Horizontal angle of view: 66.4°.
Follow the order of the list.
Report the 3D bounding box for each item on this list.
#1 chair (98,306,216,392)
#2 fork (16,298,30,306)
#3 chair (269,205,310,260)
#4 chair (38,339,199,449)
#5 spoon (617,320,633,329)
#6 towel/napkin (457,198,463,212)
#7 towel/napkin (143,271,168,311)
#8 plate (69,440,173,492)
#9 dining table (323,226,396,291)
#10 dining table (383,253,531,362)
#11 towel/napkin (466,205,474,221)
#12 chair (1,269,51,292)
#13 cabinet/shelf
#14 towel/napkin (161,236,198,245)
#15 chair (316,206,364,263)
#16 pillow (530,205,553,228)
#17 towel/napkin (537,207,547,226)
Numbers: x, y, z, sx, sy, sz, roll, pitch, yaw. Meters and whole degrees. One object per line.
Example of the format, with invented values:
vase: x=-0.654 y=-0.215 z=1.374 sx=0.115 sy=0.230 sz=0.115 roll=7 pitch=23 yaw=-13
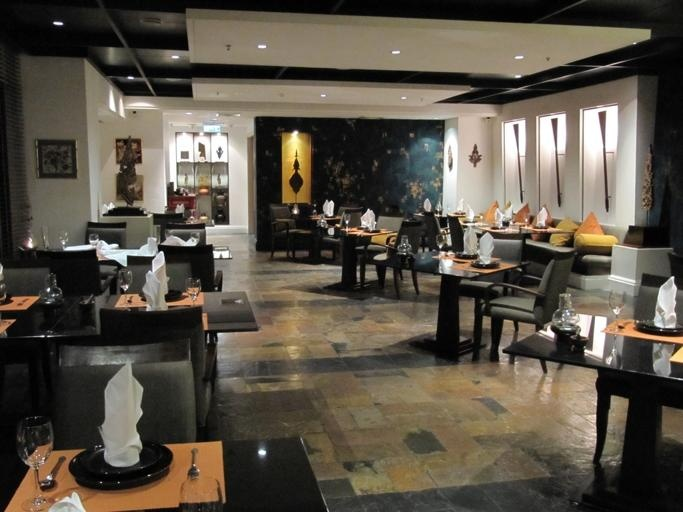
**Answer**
chair: x=-1.026 y=0.429 z=2.995 sx=0.499 sy=0.662 sz=0.527 roll=0 pitch=9 yaw=-5
fork: x=-2.491 y=0.357 z=4.101 sx=0.040 sy=0.020 sz=0.134 roll=6 pitch=5 yaw=-13
chair: x=-1.271 y=-0.596 z=12.284 sx=0.818 sy=1.177 sz=1.478 roll=-1 pitch=10 yaw=-8
chair: x=-1.055 y=0.504 z=2.539 sx=0.476 sy=0.492 sz=0.651 roll=0 pitch=0 yaw=-15
spoon: x=1.964 y=0.473 z=3.632 sx=0.058 sy=0.022 sz=0.197 roll=7 pitch=14 yaw=37
towel/napkin: x=2.851 y=-1.213 z=12.501 sx=0.130 sy=0.279 sz=0.405 roll=2 pitch=10 yaw=10
towel/napkin: x=-1.271 y=0.219 z=3.567 sx=0.142 sy=0.261 sz=0.529 roll=-4 pitch=11 yaw=-20
plate: x=-0.870 y=0.827 z=2.062 sx=0.392 sy=0.070 sz=0.221 roll=-2 pitch=10 yaw=-11
dining table: x=0.284 y=0.055 z=8.899 sx=1.054 sy=0.844 sz=1.126 roll=3 pitch=4 yaw=25
dining table: x=1.299 y=0.487 z=5.757 sx=1.104 sy=1.034 sz=1.092 roll=0 pitch=3 yaw=-41
towel/napkin: x=2.872 y=-0.952 z=11.607 sx=0.120 sy=0.324 sz=0.696 roll=3 pitch=11 yaw=17
chair: x=-2.670 y=0.214 z=4.414 sx=0.199 sy=0.143 sz=0.112 roll=1 pitch=4 yaw=-7
cabinet/shelf: x=-4.500 y=-2.523 z=16.881 sx=1.660 sy=2.914 sz=0.839 roll=-1 pitch=10 yaw=-5
towel/napkin: x=-1.707 y=-0.151 z=5.505 sx=0.229 sy=0.063 sz=0.208 roll=3 pitch=5 yaw=5
chair: x=-0.035 y=-0.418 z=10.269 sx=0.844 sy=1.215 sz=1.204 roll=-2 pitch=6 yaw=-40
pillow: x=3.948 y=-0.846 z=10.316 sx=0.314 sy=0.412 sz=0.969 roll=3 pitch=33 yaw=18
towel/napkin: x=3.823 y=-0.747 z=9.957 sx=0.109 sy=0.330 sz=0.291 roll=4 pitch=8 yaw=-1
